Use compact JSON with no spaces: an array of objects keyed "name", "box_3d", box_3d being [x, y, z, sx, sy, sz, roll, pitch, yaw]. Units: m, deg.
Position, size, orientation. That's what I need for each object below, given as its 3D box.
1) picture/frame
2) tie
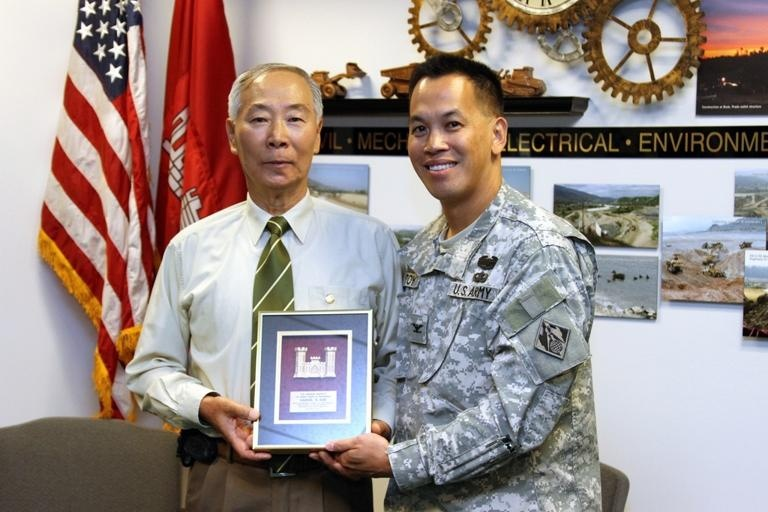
[{"name":"picture/frame","box_3d":[-0.245,0.454,2.526,0.437,0.552,0.054,0,-10,2]},{"name":"tie","box_3d":[-0.427,0.095,2.688,0.121,0.566,0.042,-2,40,-21]}]
